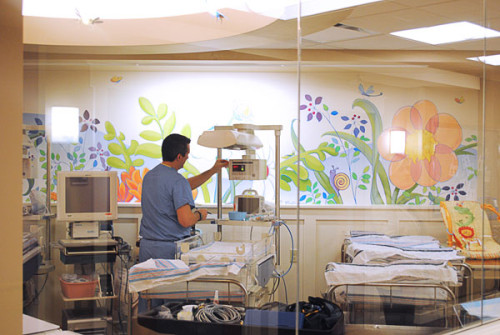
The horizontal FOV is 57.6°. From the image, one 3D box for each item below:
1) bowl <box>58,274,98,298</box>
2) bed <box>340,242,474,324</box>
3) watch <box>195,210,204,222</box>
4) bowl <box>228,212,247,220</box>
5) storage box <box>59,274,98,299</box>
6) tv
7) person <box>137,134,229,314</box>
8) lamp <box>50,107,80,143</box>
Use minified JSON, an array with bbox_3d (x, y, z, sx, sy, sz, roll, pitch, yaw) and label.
[{"bbox_3d":[-1.178,0.826,3.139,0.213,0.097,0.161,0,-2,-19],"label":"bowl"},{"bbox_3d":[0.840,0.651,2.549,0.576,0.191,0.561,-1,9,-2],"label":"bed"},{"bbox_3d":[-0.343,0.332,3.166,0.064,0.078,0.030,-1,3,-2],"label":"watch"},{"bbox_3d":[-0.085,0.336,3.172,0.132,0.057,0.134,-2,0,0],"label":"bowl"},{"bbox_3d":[-1.183,0.819,3.138,0.215,0.098,0.163,0,-1,-20],"label":"storage box"},{"bbox_3d":[-1.085,0.195,3.166,0.442,0.347,0.166,-1,0,9],"label":"tv"},{"bbox_3d":[-0.509,0.381,3.307,0.516,1.232,0.769,-2,0,22],"label":"person"},{"bbox_3d":[-1.186,-0.275,2.924,0.174,0.237,0.043,-2,0,-9],"label":"lamp"}]
